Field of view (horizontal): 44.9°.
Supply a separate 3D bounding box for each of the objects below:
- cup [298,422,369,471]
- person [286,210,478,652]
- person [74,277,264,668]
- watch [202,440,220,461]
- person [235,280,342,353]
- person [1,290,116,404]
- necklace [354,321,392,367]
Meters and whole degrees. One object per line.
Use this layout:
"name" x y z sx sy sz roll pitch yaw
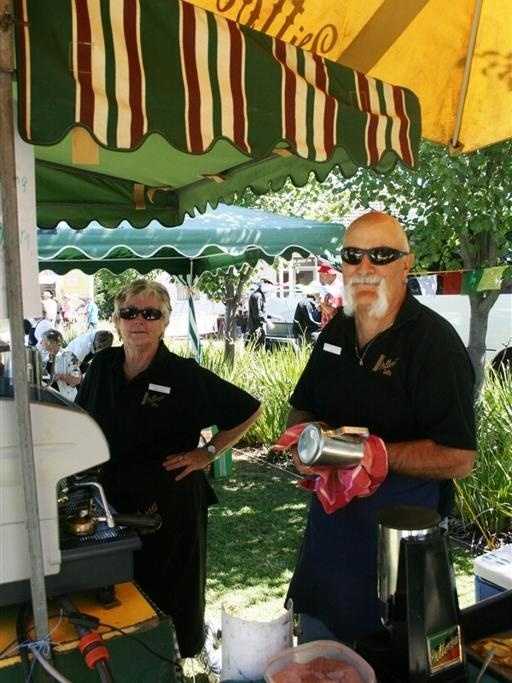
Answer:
"cup" 0.196 0.261 1.535 0.160 0.110 0.141 2 5 10
"person" 0.420 0.302 2.132 0.543 1.515 0.760 0 5 -17
"person" -0.387 0.568 2.817 0.846 1.695 0.636 0 5 -13
"watch" -0.213 0.510 2.902 0.069 0.023 0.089 12 28 -37
"person" 0.551 -0.547 12.763 2.134 0.991 1.325 1 4 43
"person" -1.492 0.125 5.618 1.564 0.818 0.781 1 -1 35
"necklace" 0.402 0.006 2.090 0.076 0.135 0.110 0 24 -47
